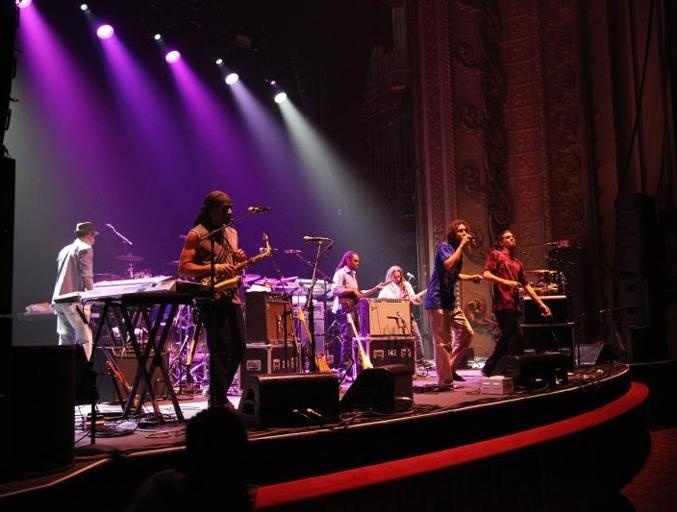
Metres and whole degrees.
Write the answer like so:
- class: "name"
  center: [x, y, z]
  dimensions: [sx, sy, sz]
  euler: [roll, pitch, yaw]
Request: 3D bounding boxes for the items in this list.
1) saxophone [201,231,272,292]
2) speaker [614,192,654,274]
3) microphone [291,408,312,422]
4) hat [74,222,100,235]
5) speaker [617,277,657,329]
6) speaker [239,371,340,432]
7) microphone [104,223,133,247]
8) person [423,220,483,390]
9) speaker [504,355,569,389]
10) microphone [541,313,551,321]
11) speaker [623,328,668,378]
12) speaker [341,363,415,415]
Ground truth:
- class: "saxophone"
  center: [-1.013, -0.107, 6.172]
  dimensions: [0.217, 0.509, 1.257]
  euler: [-23, 21, -27]
- class: "speaker"
  center: [4.495, -0.322, 9.053]
  dimensions: [0.648, 1.235, 0.400]
  euler: [-9, -7, 27]
- class: "microphone"
  center: [-0.304, 1.283, 4.833]
  dimensions: [0.225, 0.073, 0.063]
  euler: [9, -4, 39]
- class: "hat"
  center: [-3.825, -0.415, 8.975]
  dimensions: [0.319, 0.154, 0.377]
  euler: [1, -12, -26]
- class: "speaker"
  center: [4.394, 0.658, 8.874]
  dimensions: [0.209, 0.768, 0.493]
  euler: [-1, -8, -35]
- class: "speaker"
  center: [-0.404, 1.177, 4.897]
  dimensions: [0.840, 0.430, 0.278]
  euler: [-5, -7, -12]
- class: "microphone"
  center: [-4.272, -0.407, 11.450]
  dimensions: [0.097, 0.193, 0.582]
  euler: [9, -37, 41]
- class: "person"
  center: [1.323, 0.520, 6.999]
  dimensions: [0.607, 1.956, 0.772]
  euler: [-10, -8, 37]
- class: "speaker"
  center: [2.121, 1.228, 6.338]
  dimensions: [0.502, 0.260, 0.367]
  euler: [7, -18, -34]
- class: "microphone"
  center: [2.628, 0.777, 7.532]
  dimensions: [0.127, 0.135, 0.098]
  euler: [-4, -10, 10]
- class: "speaker"
  center: [4.402, 1.361, 8.470]
  dimensions: [0.899, 0.722, 0.302]
  euler: [-3, -7, -26]
- class: "speaker"
  center: [0.363, 1.234, 5.400]
  dimensions: [0.378, 0.311, 0.570]
  euler: [-4, -14, 19]
